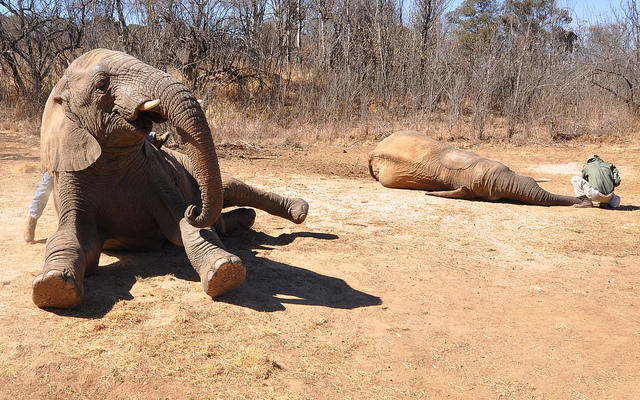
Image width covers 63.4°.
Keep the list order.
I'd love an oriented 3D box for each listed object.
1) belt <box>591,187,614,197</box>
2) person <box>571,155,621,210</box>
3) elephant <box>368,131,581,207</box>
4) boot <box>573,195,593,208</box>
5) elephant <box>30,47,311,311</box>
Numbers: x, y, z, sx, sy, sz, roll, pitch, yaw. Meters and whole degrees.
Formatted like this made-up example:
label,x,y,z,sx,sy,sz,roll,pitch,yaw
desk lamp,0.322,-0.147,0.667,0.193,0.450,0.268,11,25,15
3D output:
label,x,y,z,sx,sy,sz,roll,pitch,yaw
belt,4.995,-0.134,9.154,0.375,0.142,0.141,3,10,2
person,5.076,-0.350,9.449,0.860,0.963,0.618,1,-5,2
elephant,2.721,-0.564,10.084,3.018,0.699,1.592,10,12,31
boot,4.778,0.025,9.380,0.297,0.226,0.140,7,12,25
elephant,-1.757,-0.295,6.824,2.711,1.785,3.698,-3,5,17
